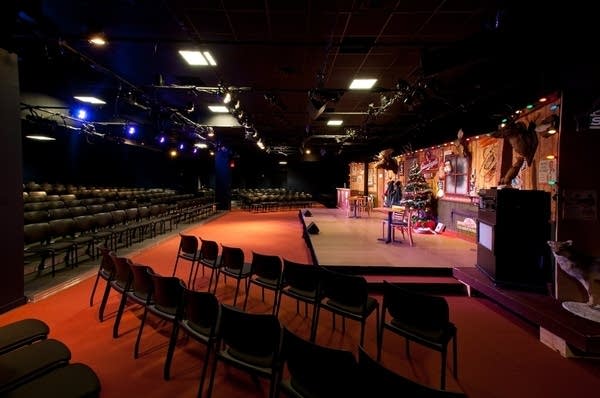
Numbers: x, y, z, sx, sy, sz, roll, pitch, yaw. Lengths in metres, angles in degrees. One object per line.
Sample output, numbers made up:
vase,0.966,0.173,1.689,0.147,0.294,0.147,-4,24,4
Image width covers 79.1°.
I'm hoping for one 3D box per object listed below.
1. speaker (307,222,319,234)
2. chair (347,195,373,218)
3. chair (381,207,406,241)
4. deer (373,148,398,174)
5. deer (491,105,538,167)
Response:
speaker,0.357,0.850,10.743,0.328,0.322,0.326,-3,3,-21
chair,2.499,0.288,15.042,0.974,0.644,0.968,0,-3,1
chair,2.674,0.691,9.695,0.689,0.913,0.656,0,6,24
deer,3.518,-1.521,14.757,0.885,1.026,0.814,0,3,13
deer,4.785,-1.422,7.901,0.854,1.096,0.784,-5,18,20
